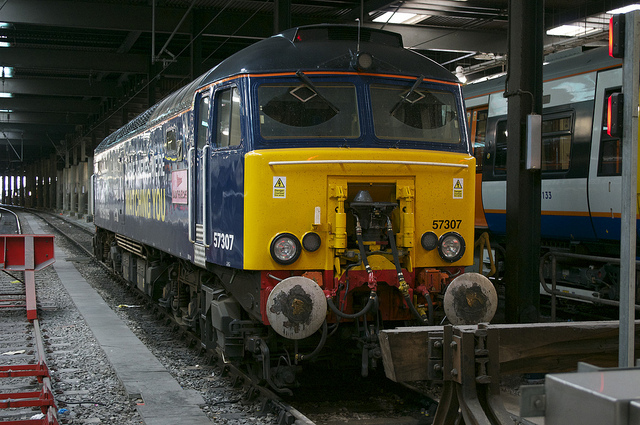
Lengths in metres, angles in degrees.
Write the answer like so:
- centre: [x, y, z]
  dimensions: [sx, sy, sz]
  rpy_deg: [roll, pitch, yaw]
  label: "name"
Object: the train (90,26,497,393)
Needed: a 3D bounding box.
- centre: [-1.913, -0.649, 12.601]
  dimensions: [3.989, 5.033, 13.091]
  rpy_deg: [-1, 4, -24]
  label: "train"
